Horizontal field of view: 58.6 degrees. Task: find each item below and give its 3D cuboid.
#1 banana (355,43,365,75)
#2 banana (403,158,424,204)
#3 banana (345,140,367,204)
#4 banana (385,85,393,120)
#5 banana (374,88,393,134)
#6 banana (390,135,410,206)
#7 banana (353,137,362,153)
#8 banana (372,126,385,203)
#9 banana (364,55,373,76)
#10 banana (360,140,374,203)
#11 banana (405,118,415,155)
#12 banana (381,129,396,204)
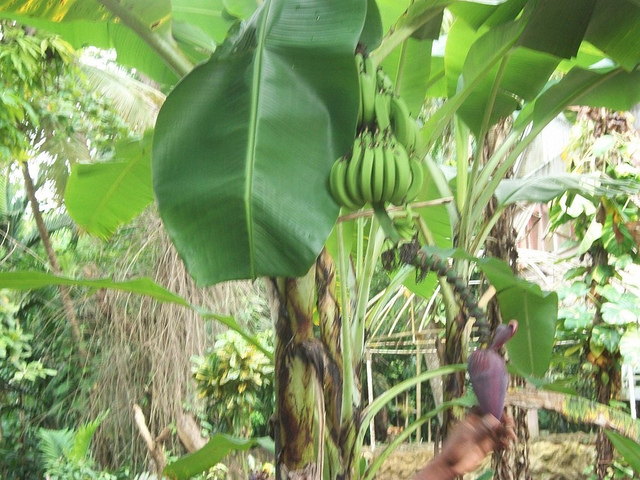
[{"bbox_3d":[0.123,-0.556,1.757,0.028,0.099,0.025,-14,-36,23],"label":"banana"},{"bbox_3d":[0.303,-0.185,1.756,0.030,0.126,0.091,3,-15,40],"label":"banana"},{"bbox_3d":[0.102,-0.202,1.671,0.058,0.177,0.076,2,-27,2],"label":"banana"},{"bbox_3d":[0.211,-0.421,1.749,0.019,0.093,0.029,-3,-4,28],"label":"banana"},{"bbox_3d":[0.184,-0.379,1.706,0.035,0.145,0.047,-10,-2,27],"label":"banana"},{"bbox_3d":[0.237,-0.206,1.679,0.044,0.211,0.065,-1,-3,-14],"label":"banana"},{"bbox_3d":[0.111,-0.278,1.682,0.008,0.038,0.026,11,7,39],"label":"banana"},{"bbox_3d":[0.166,-0.206,1.644,0.026,0.190,0.026,3,-12,-9],"label":"banana"},{"bbox_3d":[0.148,-0.530,1.744,0.010,0.048,0.044,-11,12,38],"label":"banana"},{"bbox_3d":[0.131,-0.196,1.639,0.031,0.159,0.049,1,-10,3],"label":"banana"},{"bbox_3d":[0.280,-0.313,1.757,0.023,0.112,0.033,2,-2,-35],"label":"banana"},{"bbox_3d":[0.192,-0.215,1.663,0.032,0.206,0.048,2,-9,-16],"label":"banana"}]
